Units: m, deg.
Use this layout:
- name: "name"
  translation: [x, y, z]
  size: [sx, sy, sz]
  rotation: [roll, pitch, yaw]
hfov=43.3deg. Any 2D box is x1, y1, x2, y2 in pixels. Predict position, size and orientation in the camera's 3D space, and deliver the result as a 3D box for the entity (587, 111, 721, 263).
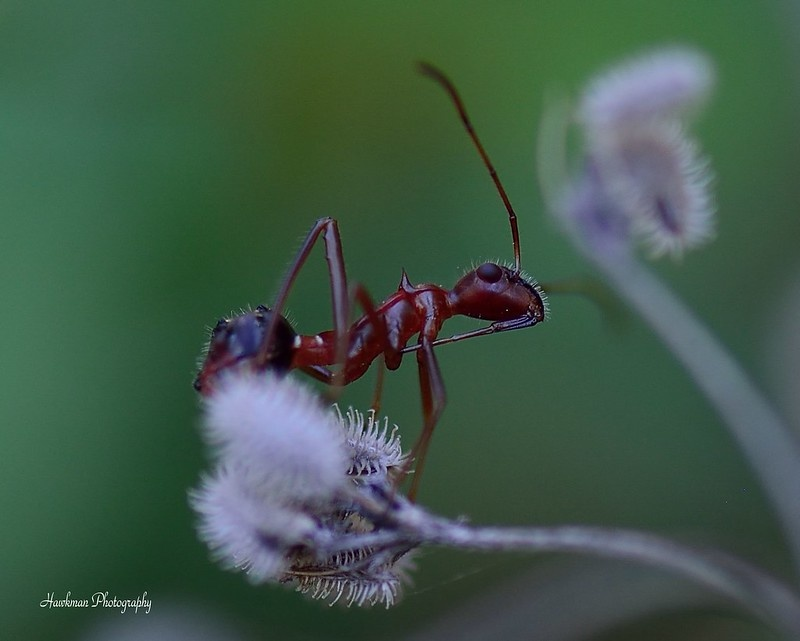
- name: "entity"
  translation: [0.671, -0.350, 2.692]
  size: [0.260, 0.374, 0.087]
  rotation: [-38, 3, -10]
